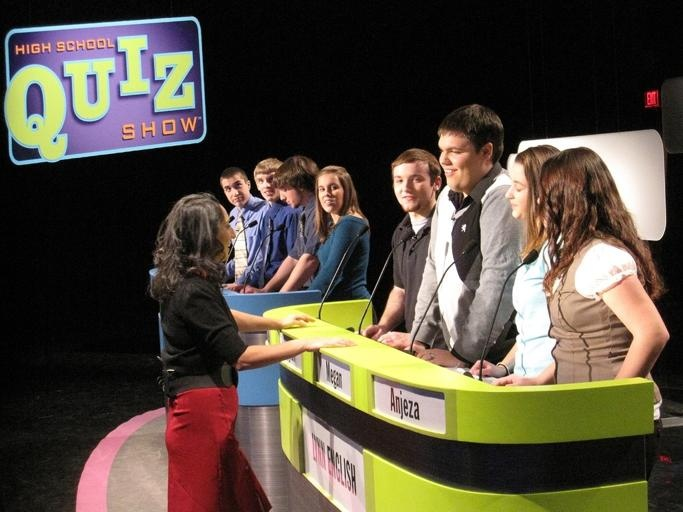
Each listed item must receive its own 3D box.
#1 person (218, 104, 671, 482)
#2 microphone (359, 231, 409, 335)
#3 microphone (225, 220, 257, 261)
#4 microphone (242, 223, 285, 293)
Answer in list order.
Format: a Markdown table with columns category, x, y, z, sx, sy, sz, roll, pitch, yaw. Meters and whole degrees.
| category | x | y | z | sx | sy | sz | roll | pitch | yaw |
| --- | --- | --- | --- | --- | --- | --- | --- | --- | --- |
| person | 0.584 | -0.018 | 2.970 | 0.970 | 1.811 | 1.118 | 5 | -2 | -27 |
| microphone | 0.310 | 0.163 | 4.449 | 0.041 | 0.310 | 1.265 | -17 | 19 | 28 |
| microphone | -0.795 | -0.121 | 4.776 | 0.292 | 0.077 | 0.834 | 19 | 11 | -13 |
| microphone | -0.648 | 0.005 | 4.940 | 0.287 | 0.571 | 0.276 | 3 | 10 | 12 |
